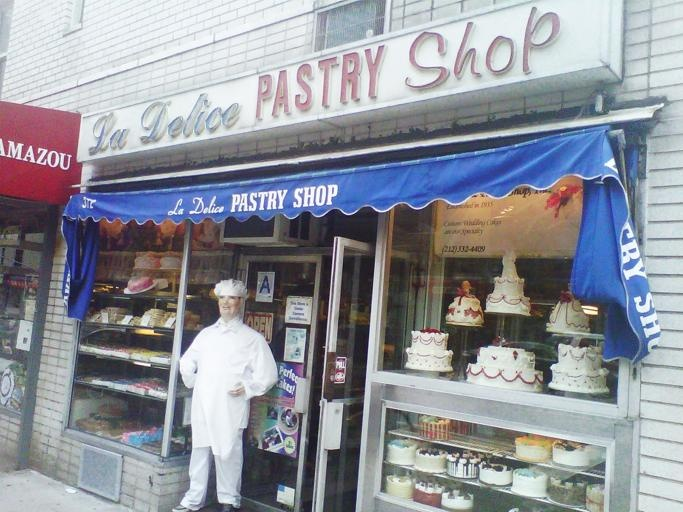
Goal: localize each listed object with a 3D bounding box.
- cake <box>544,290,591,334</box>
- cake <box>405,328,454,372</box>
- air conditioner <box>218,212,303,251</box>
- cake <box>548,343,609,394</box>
[{"bbox_3d":[1.806,0.449,5.287,0.318,0.305,0.316,4,-9,-35],"label":"cake"},{"bbox_3d":[0.780,0.844,5.938,0.374,0.263,0.365,1,-5,1],"label":"cake"},{"bbox_3d":[-0.931,-0.257,6.951,0.670,0.338,0.316,-1,-3,33],"label":"air conditioner"},{"bbox_3d":[1.842,0.870,5.137,0.373,0.251,0.363,1,-8,10],"label":"cake"}]
